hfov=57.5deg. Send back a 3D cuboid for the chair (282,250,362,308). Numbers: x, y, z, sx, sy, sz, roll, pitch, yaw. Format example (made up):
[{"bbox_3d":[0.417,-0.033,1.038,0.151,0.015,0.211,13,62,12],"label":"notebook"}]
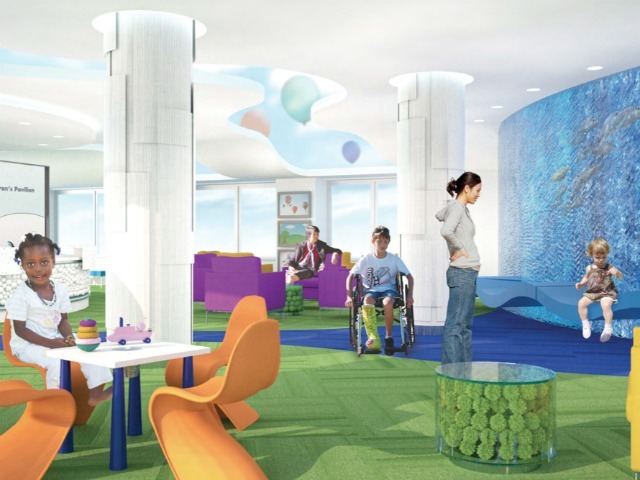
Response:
[{"bbox_3d":[0.138,0.788,10.374,0.721,1.010,1.025,0,-2,12],"label":"chair"}]

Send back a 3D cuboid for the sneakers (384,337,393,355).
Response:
[{"bbox_3d":[0.785,1.204,6.555,0.100,0.182,0.126,0,1,3],"label":"sneakers"}]

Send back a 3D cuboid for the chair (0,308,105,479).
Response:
[{"bbox_3d":[-2.042,1.077,4.616,0.826,1.128,0.972,-5,5,-40],"label":"chair"}]

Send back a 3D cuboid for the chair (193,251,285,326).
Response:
[{"bbox_3d":[-1.292,0.633,9.443,1.422,1.390,1.114,1,2,22],"label":"chair"}]

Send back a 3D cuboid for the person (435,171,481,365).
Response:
[{"bbox_3d":[1.160,0.245,4.959,0.386,1.655,0.482,0,2,37],"label":"person"}]

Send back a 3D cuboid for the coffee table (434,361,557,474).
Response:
[{"bbox_3d":[1.079,1.115,3.627,0.637,0.462,0.644,0,-3,-2],"label":"coffee table"}]

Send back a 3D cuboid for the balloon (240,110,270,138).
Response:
[{"bbox_3d":[-1.405,-2.485,12.614,0.506,0.609,0.506,-8,1,-22],"label":"balloon"}]

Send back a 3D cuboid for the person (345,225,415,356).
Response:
[{"bbox_3d":[0.683,0.576,6.660,0.754,1.439,0.515,0,1,4],"label":"person"}]

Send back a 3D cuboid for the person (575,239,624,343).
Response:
[{"bbox_3d":[3.426,0.652,7.153,0.482,1.295,0.552,0,1,27],"label":"person"}]

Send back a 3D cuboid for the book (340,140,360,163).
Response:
[{"bbox_3d":[0.805,-2.254,14.862,0.496,0.620,0.501,-1,0,-7],"label":"book"}]

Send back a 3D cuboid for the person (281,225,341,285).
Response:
[{"bbox_3d":[-0.096,0.290,11.313,1.005,1.047,0.869,8,0,7],"label":"person"}]

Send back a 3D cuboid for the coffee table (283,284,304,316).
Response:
[{"bbox_3d":[-0.415,1.035,9.972,0.409,0.480,0.417,-1,-2,33],"label":"coffee table"}]

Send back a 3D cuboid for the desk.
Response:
[{"bbox_3d":[-1.297,1.018,3.973,0.859,0.738,0.875,-3,-3,39],"label":"desk"}]
